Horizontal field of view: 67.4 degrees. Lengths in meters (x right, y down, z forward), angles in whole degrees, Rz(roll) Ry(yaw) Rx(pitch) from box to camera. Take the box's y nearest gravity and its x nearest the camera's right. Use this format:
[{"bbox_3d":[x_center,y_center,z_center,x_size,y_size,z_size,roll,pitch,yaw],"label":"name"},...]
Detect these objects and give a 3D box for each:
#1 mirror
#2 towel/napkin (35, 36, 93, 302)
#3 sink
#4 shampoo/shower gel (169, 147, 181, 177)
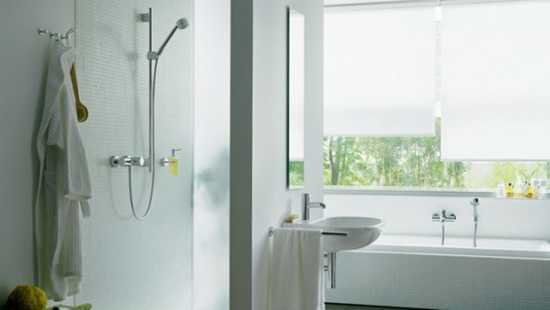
[{"bbox_3d":[0.211,-0.691,4.463,0.039,1.718,0.447,4,8,32],"label":"mirror"},{"bbox_3d":[-1.814,0.125,3.502,0.426,2.262,0.177,-2,0,-28],"label":"towel/napkin"},{"bbox_3d":[0.758,0.823,4.239,0.705,0.247,0.780,-5,-1,-3],"label":"sink"},{"bbox_3d":[-1.069,0.070,4.390,0.111,0.289,0.161,-2,0,2],"label":"shampoo/shower gel"}]
